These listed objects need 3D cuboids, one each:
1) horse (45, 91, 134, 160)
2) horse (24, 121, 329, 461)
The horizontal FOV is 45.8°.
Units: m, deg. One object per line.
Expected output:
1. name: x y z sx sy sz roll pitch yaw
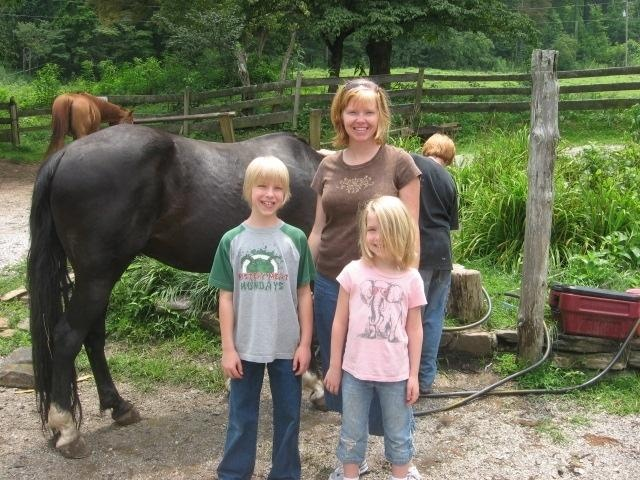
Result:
1. horse: -2.412 -1.123 7.930 0.372 0.800 1.246 10 2 17
2. horse: -0.795 0.338 6.865 3.592 2.570 0.912 -2 7 -21
